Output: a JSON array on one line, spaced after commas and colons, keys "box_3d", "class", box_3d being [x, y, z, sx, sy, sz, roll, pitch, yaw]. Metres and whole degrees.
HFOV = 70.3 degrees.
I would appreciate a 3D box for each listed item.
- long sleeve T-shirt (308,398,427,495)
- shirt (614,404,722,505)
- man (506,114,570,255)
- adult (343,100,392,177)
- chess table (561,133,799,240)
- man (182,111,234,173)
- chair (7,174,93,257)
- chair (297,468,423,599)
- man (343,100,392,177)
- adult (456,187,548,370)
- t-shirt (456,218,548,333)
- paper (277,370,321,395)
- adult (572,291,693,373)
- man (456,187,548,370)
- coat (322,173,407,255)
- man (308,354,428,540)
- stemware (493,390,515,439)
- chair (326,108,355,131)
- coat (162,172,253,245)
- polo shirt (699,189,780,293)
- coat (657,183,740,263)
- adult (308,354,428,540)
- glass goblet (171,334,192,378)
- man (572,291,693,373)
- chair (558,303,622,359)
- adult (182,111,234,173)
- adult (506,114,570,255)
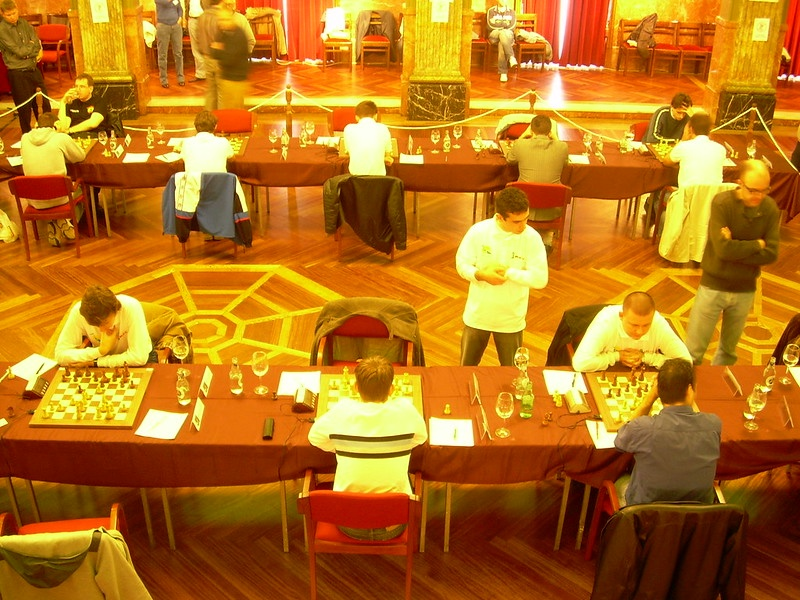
[{"box_3d": [-0.155, 0.727, 2.860, 0.582, 0.605, 0.321, 0, 13, -2], "class": "long sleeve T-shirt"}, {"box_3d": [1.305, 0.761, 2.769, 0.432, 0.552, 0.308, 0, 26, 11], "class": "shirt"}, {"box_3d": [1.606, -1.401, 6.703, 0.599, 1.647, 0.564, 4, 42, 11], "class": "man"}, {"box_3d": [-0.346, -1.772, 6.292, 0.503, 0.794, 0.447, -2, 21, -7], "class": "adult"}, {"box_3d": [3.005, -1.234, 6.255, 1.441, 0.379, 0.929, -1, 46, 2], "class": "chess table"}, {"box_3d": [-2.111, -1.722, 6.232, 0.535, 0.647, 0.502, -7, 22, -18], "class": "man"}, {"box_3d": [-3.946, -0.960, 6.452, 0.602, 0.959, 0.698, 0, 43, -14], "class": "chair"}, {"box_3d": [-0.212, 1.068, 2.893, 0.583, 0.922, 0.676, 0, 53, -2], "class": "chair"}, {"box_3d": [-0.351, -1.779, 6.290, 0.498, 0.781, 0.450, -1, 21, -4], "class": "man"}, {"box_3d": [0.694, 0.046, 4.162, 0.593, 1.749, 0.503, 5, 31, 6], "class": "adult"}, {"box_3d": [0.700, -0.169, 3.968, 0.601, 0.812, 0.337, 3, 20, 8], "class": "t-shirt"}, {"box_3d": [-0.622, 0.500, 3.479, 0.149, 0.039, 0.158, 3, 25, -1], "class": "paper"}, {"box_3d": [1.436, 0.228, 3.678, 0.735, 0.609, 0.489, 1, 43, 7], "class": "adult"}, {"box_3d": [0.707, 0.038, 4.147, 0.570, 1.747, 0.489, 5, 31, 7], "class": "man"}, {"box_3d": [-0.369, -0.972, 6.265, 0.854, 0.928, 0.304, 6, 45, 8], "class": "coat"}, {"box_3d": [-0.172, 0.630, 2.751, 0.532, 0.689, 0.202, -2, 20, -7], "class": "man"}, {"box_3d": [0.590, 0.641, 3.217, 0.127, 0.228, 0.126, -16, 23, -38], "class": "stemware"}, {"box_3d": [-0.807, -2.500, 8.017, 0.419, 0.402, 0.438, 2, 30, 2], "class": "chair"}, {"box_3d": [-2.138, -1.041, 6.299, 0.872, 0.796, 0.224, 4, 48, -6], "class": "coat"}, {"box_3d": [2.544, -0.414, 4.236, 0.491, 0.789, 0.382, 9, 22, 22], "class": "polo shirt"}, {"box_3d": [3.327, -0.733, 6.310, 0.701, 0.927, 0.518, 11, -10, 13], "class": "coat"}, {"box_3d": [-0.173, 0.724, 3.008, 0.523, 1.079, 0.608, 7, 25, 5], "class": "adult"}, {"box_3d": [-1.379, 0.357, 3.618, 0.092, 0.235, 0.097, -2, 23, -27], "class": "glass goblet"}, {"box_3d": [1.443, 0.202, 3.605, 0.704, 0.594, 0.466, -2, 26, 4], "class": "man"}, {"box_3d": [1.227, 0.169, 3.856, 0.304, 0.391, 0.284, -9, 29, -29], "class": "chair"}, {"box_3d": [-2.108, -1.721, 6.230, 0.536, 0.647, 0.499, -7, 22, -19], "class": "adult"}, {"box_3d": [1.606, -1.419, 6.749, 0.611, 1.588, 0.586, 3, 46, 10], "class": "adult"}]
